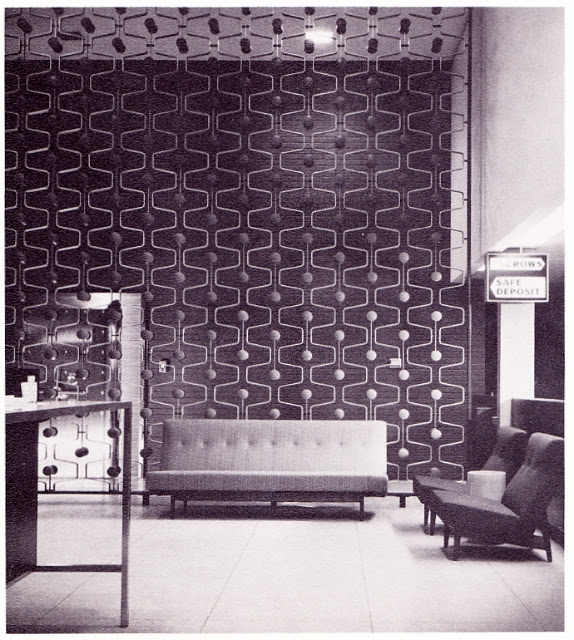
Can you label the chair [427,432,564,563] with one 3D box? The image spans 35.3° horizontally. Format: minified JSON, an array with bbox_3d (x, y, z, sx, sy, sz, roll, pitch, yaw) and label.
[{"bbox_3d":[0.995,0.986,5.054,0.809,0.710,0.555,2,-9,-4],"label":"chair"}]
